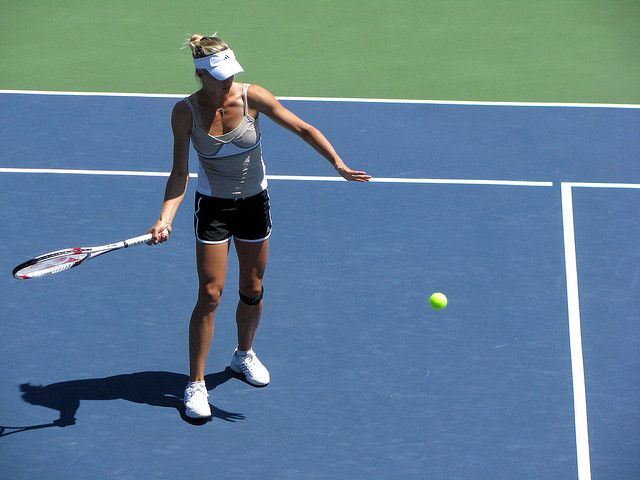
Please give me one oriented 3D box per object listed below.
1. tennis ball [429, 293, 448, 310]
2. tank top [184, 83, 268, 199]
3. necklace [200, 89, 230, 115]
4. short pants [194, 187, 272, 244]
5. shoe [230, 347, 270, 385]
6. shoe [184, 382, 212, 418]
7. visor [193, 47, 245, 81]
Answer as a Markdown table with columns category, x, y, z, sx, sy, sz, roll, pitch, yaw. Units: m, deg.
| category | x | y | z | sx | sy | sz | roll | pitch | yaw |
| --- | --- | --- | --- | --- | --- | --- | --- | --- | --- |
| tennis ball | 1.184 | 0.610 | 9.370 | 0.193 | 0.147 | 0.161 | 6 | 4 | -35 |
| tank top | -0.790 | -0.855 | 8.458 | 0.593 | 0.776 | 0.408 | -11 | -2 | 8 |
| necklace | -0.935 | -1.216 | 8.223 | 0.261 | 0.144 | 0.146 | 10 | 43 | 8 |
| short pants | -0.803 | -0.192 | 8.522 | 0.832 | 0.503 | 0.474 | -2 | 0 | -20 |
| shoe | -0.646 | 1.217 | 8.910 | 0.433 | 0.241 | 0.218 | 35 | 42 | 13 |
| shoe | -1.125 | 1.489 | 8.641 | 0.243 | 0.290 | 0.243 | -4 | 44 | -8 |
| visor | -0.903 | -1.563 | 8.131 | 0.499 | 0.160 | 0.323 | 25 | 41 | 29 |
